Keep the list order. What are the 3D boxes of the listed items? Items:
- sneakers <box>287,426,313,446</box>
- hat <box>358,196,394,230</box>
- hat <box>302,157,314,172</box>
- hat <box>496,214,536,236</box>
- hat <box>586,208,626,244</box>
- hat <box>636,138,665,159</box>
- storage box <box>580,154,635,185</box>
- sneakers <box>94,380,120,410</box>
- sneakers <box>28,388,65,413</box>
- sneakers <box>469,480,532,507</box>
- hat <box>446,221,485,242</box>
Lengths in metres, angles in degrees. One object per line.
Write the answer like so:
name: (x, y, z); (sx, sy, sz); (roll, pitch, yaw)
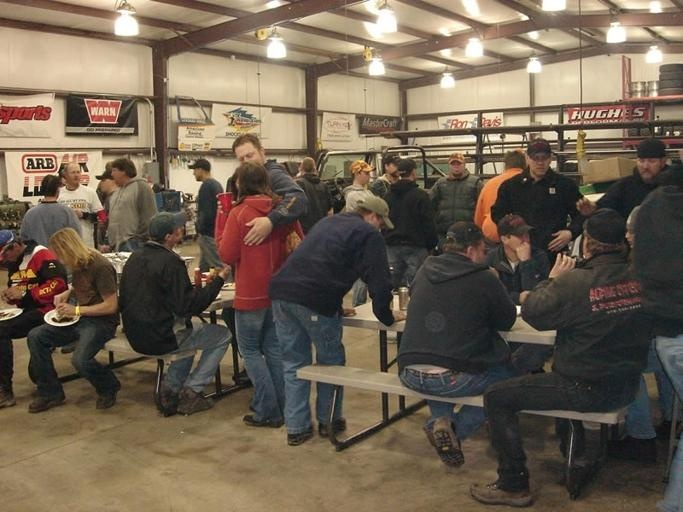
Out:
sneakers: (-0.310, 1.361, 4.808); (0.077, 0.090, 0.222); (6, 12, 40)
hat: (0.261, -0.352, 4.721); (0.338, 0.160, 0.218); (24, -7, 4)
hat: (-0.455, -1.322, 9.042); (0.215, 0.196, 0.298); (4, -18, -1)
hat: (1.338, -0.238, 4.853); (0.226, 0.123, 0.162); (-7, 6, 29)
hat: (1.643, -0.187, 3.938); (0.225, 0.200, 0.160); (5, 14, 31)
hat: (2.655, -0.944, 5.438); (0.213, 0.144, 0.200); (0, 4, 11)
storage box: (3.113, -0.987, 7.259); (0.428, 0.225, 0.435); (0, 4, 38)
sneakers: (-2.008, 1.190, 5.528); (0.127, 0.283, 0.127); (17, -4, 12)
sneakers: (-2.596, 1.254, 5.485); (0.131, 0.150, 0.350); (-6, -6, 32)
sneakers: (0.998, 1.493, 4.045); (0.413, 0.157, 0.147); (3, 2, 23)
hat: (0.836, -0.163, 4.237); (0.236, 0.133, 0.153); (0, 12, 10)
